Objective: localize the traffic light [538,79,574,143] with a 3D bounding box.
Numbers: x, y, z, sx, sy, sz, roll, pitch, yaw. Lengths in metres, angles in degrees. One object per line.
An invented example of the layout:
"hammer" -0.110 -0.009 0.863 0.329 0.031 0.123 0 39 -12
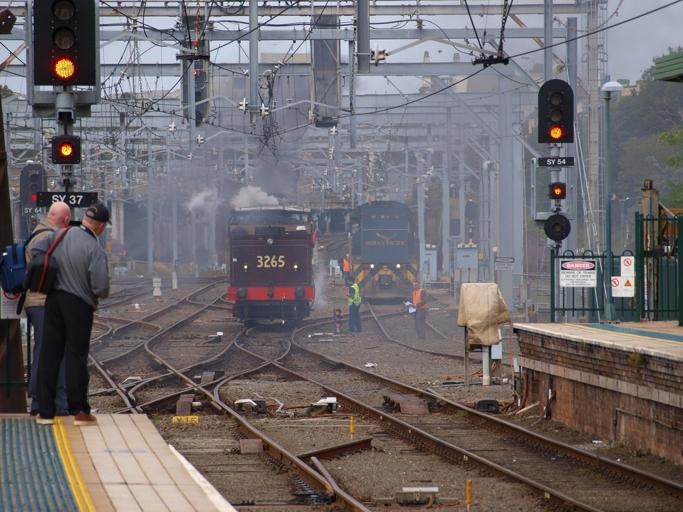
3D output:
"traffic light" 4.649 -3.178 26.488 0.728 1.376 0.878 0 2 9

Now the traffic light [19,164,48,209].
"traffic light" -9.728 -2.265 38.277 0.652 1.366 3.338 -1 2 -16

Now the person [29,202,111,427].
"person" -3.790 0.759 16.995 1.174 3.025 1.063 4 -2 5

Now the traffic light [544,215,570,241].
"traffic light" 4.873 -0.643 27.644 0.553 0.670 0.527 0 2 10

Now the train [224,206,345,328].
"train" -2.318 0.232 39.989 3.003 3.468 5.293 2 1 -3

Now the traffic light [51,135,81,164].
"traffic light" -4.676 -1.809 20.610 0.480 0.506 0.527 -1 2 -12
